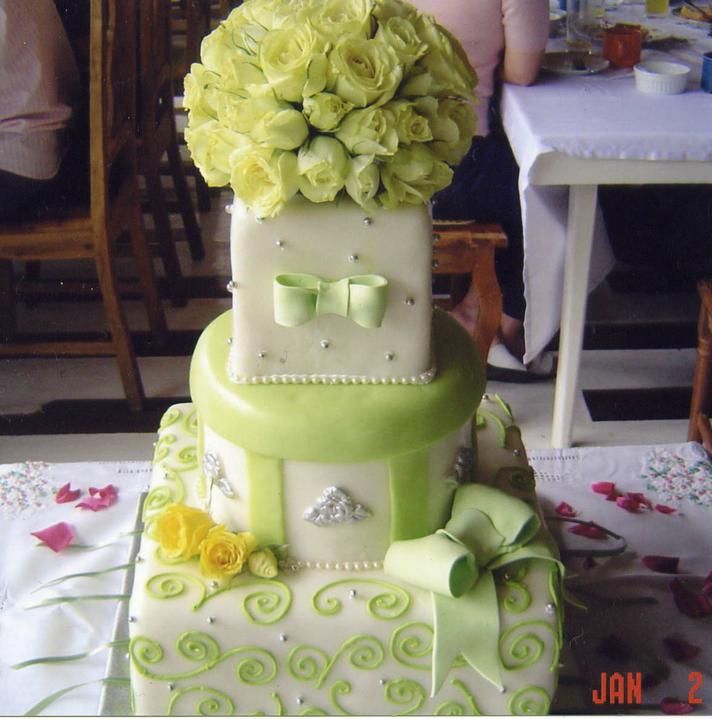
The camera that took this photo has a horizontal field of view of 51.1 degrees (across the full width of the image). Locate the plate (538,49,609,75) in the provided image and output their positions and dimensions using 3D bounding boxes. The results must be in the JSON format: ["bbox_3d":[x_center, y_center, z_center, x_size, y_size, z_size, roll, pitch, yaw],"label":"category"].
[{"bbox_3d":[0.750,-1.029,2.574,0.170,0.024,0.166,3,34,6],"label":"plate"}]

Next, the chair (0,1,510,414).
[{"bbox_3d":[-0.082,-0.252,1.147,0.514,0.550,0.474,3,23,11],"label":"chair"}]

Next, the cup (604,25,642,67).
[{"bbox_3d":[0.903,-1.087,2.599,0.146,0.149,0.158,-3,26,1],"label":"cup"}]
